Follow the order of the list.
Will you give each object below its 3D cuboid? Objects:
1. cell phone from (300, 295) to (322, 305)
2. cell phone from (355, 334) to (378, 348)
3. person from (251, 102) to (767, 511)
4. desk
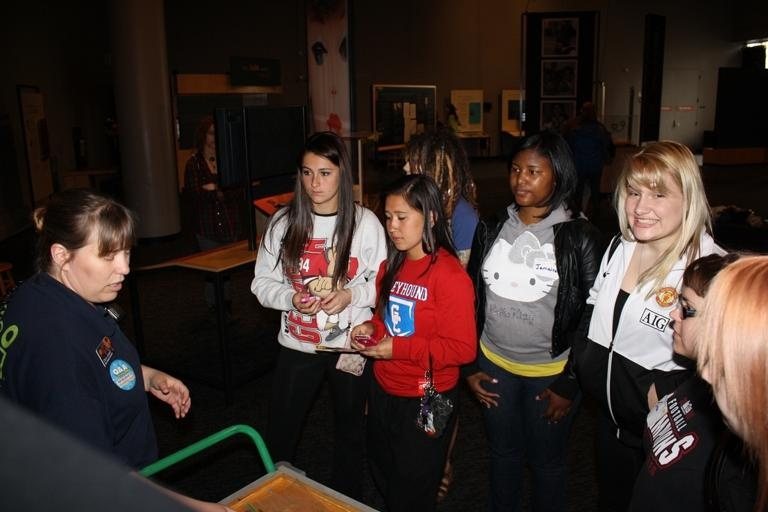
[{"bbox_3d":[-0.371,0.222,2.463,0.072,0.023,0.046,2,28,-2],"label":"cell phone"},{"bbox_3d":[-0.077,0.386,2.237,0.095,0.032,0.106,-9,16,-21],"label":"cell phone"},{"bbox_3d":[0.749,0.245,2.473,0.663,1.647,1.370,-15,19,-36],"label":"person"},{"bbox_3d":[-1.469,0.464,4.359,1.170,0.924,1.266,4,10,24],"label":"desk"}]
